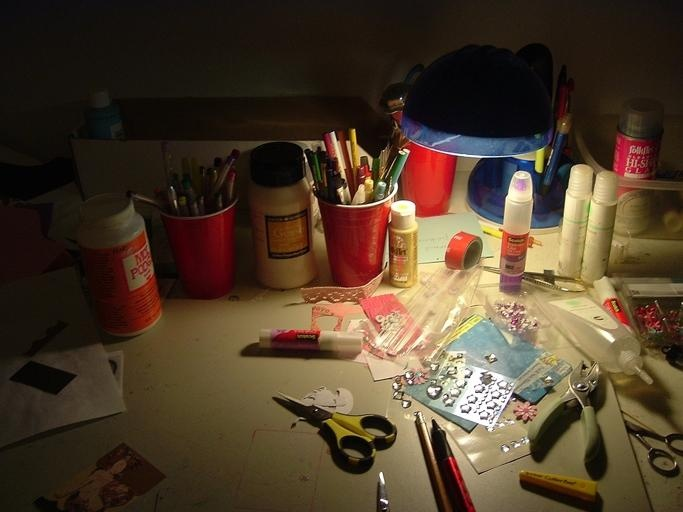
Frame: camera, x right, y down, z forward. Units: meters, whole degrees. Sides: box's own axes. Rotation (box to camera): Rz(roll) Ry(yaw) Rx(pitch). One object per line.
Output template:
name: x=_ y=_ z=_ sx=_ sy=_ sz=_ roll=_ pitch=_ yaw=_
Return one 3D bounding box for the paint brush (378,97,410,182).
paint brush: x=0.096 y=-0.202 z=0.949 sx=0.049 sy=0.164 sz=0.063 roll=-11 pitch=35 yaw=-1

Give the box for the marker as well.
marker: x=0.320 y=-0.052 z=0.911 sx=0.050 sy=0.203 sz=0.077 roll=12 pitch=30 yaw=22

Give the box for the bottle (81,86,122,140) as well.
bottle: x=-0.464 y=-0.271 z=1.008 sx=0.061 sy=0.107 sz=0.054 roll=14 pitch=38 yaw=17

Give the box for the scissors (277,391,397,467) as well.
scissors: x=-0.019 y=0.241 z=0.724 sx=0.193 sy=0.029 sz=0.081 roll=14 pitch=32 yaw=23

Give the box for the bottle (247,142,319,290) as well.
bottle: x=-0.109 y=-0.073 z=0.931 sx=0.116 sy=0.252 sz=0.101 roll=-4 pitch=28 yaw=-7

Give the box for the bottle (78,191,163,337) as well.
bottle: x=-0.372 y=0.023 z=0.836 sx=0.130 sy=0.256 sz=0.123 roll=2 pitch=35 yaw=-2

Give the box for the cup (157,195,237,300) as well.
cup: x=-0.239 y=-0.006 z=0.912 sx=0.117 sy=0.176 sz=0.150 roll=-12 pitch=31 yaw=-23

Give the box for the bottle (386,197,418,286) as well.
bottle: x=0.110 y=-0.023 z=0.959 sx=0.058 sy=0.158 sz=0.053 roll=-1 pitch=24 yaw=1

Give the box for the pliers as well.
pliers: x=0.341 y=0.218 z=0.727 sx=0.087 sy=0.050 sz=0.193 roll=20 pitch=35 yaw=32
